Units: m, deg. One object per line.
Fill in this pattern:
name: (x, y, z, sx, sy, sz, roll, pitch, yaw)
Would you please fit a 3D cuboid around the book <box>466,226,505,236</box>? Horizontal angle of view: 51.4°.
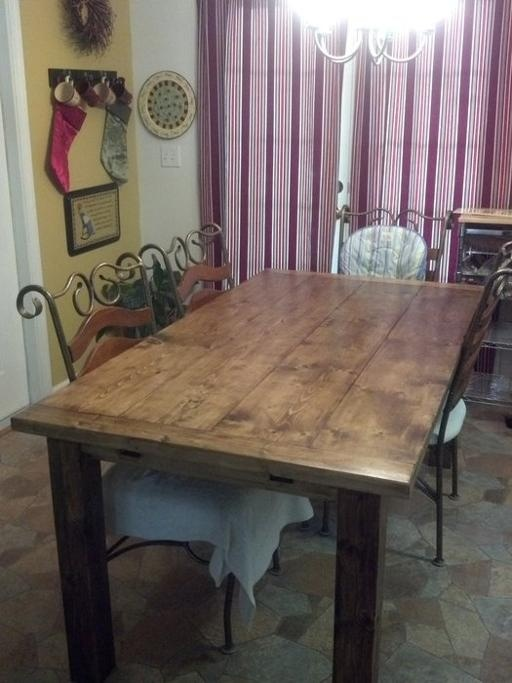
book: (1.141, -0.544, 2.640, 0.196, 0.040, 0.031, 5, 18, 20)
